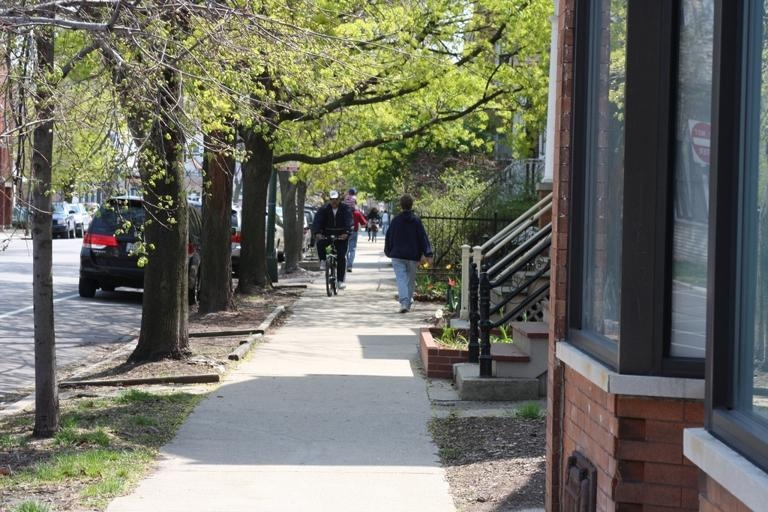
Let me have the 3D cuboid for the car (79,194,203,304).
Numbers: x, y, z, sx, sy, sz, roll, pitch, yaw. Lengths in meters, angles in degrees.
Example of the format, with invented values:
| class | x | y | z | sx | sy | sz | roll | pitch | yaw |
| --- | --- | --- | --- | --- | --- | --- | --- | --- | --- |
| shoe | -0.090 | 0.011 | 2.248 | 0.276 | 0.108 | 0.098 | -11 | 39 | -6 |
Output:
| class | x | y | z | sx | sy | sz | roll | pitch | yaw |
| --- | --- | --- | --- | --- | --- | --- | --- | --- | --- |
| car | -4.971 | -0.147 | 20.475 | 2.120 | 2.051 | 4.137 | 4 | 2 | -19 |

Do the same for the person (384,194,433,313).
| class | x | y | z | sx | sy | sz | roll | pitch | yaw |
| --- | --- | --- | --- | --- | --- | --- | --- | --- | --- |
| person | 0.386 | -0.014 | 17.575 | 0.644 | 2.082 | 0.961 | -4 | 7 | -37 |

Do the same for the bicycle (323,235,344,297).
| class | x | y | z | sx | sy | sz | roll | pitch | yaw |
| --- | --- | --- | --- | --- | --- | --- | --- | --- | --- |
| bicycle | -1.099 | 0.180 | 20.871 | 0.228 | 1.178 | 0.701 | 2 | 5 | 13 |

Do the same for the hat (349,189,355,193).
| class | x | y | z | sx | sy | sz | roll | pitch | yaw |
| --- | --- | --- | --- | --- | --- | --- | --- | --- | --- |
| hat | -0.852 | -1.683 | 26.218 | 0.098 | 0.126 | 0.135 | 0 | -31 | 4 |

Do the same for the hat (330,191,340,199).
| class | x | y | z | sx | sy | sz | roll | pitch | yaw |
| --- | --- | --- | --- | --- | --- | --- | --- | --- | --- |
| hat | -1.025 | -1.249 | 20.715 | 0.183 | 0.130 | 0.317 | 0 | 5 | 0 |

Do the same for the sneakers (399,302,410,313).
| class | x | y | z | sx | sy | sz | roll | pitch | yaw |
| --- | --- | --- | --- | --- | --- | --- | --- | --- | --- |
| sneakers | 0.348 | 0.892 | 17.903 | 0.150 | 0.173 | 0.381 | -1 | -5 | 1 |

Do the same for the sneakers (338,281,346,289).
| class | x | y | z | sx | sy | sz | roll | pitch | yaw |
| --- | --- | --- | --- | --- | --- | --- | --- | --- | --- |
| sneakers | -0.920 | 0.602 | 21.542 | 0.114 | 0.146 | 0.343 | -1 | -7 | -4 |
